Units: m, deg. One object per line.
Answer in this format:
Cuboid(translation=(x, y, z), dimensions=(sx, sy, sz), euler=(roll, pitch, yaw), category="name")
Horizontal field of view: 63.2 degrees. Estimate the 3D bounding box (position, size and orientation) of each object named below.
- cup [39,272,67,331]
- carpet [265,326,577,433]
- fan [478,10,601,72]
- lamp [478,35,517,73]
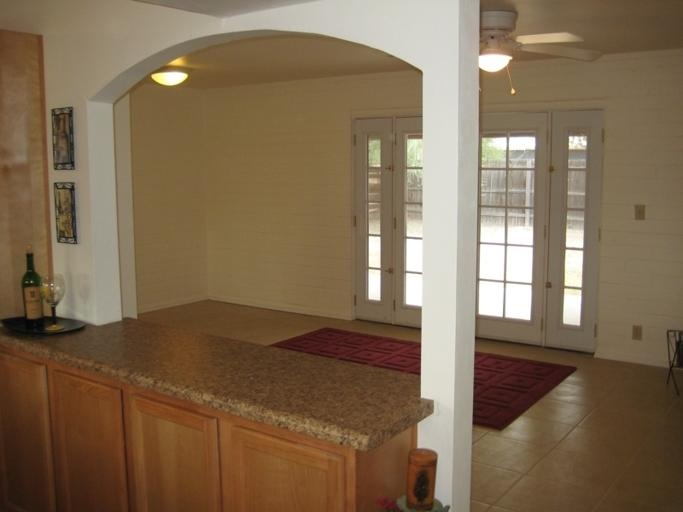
Cuboid(translation=(-1.672, 0.249, 3.215), dimensions=(0.120, 0.308, 0.253), euler=(-7, 13, -29), category="cup")
Cuboid(translation=(0.910, 1.014, 5.682), dimensions=(2.470, 0.088, 1.655), euler=(11, 16, 43), category="carpet")
Cuboid(translation=(1.169, -1.353, 3.439), dimensions=(0.655, 0.267, 0.654), euler=(-9, 9, -38), category="fan")
Cuboid(translation=(0.992, -1.301, 3.545), dimensions=(0.204, 0.191, 0.191), euler=(3, 12, 14), category="lamp")
